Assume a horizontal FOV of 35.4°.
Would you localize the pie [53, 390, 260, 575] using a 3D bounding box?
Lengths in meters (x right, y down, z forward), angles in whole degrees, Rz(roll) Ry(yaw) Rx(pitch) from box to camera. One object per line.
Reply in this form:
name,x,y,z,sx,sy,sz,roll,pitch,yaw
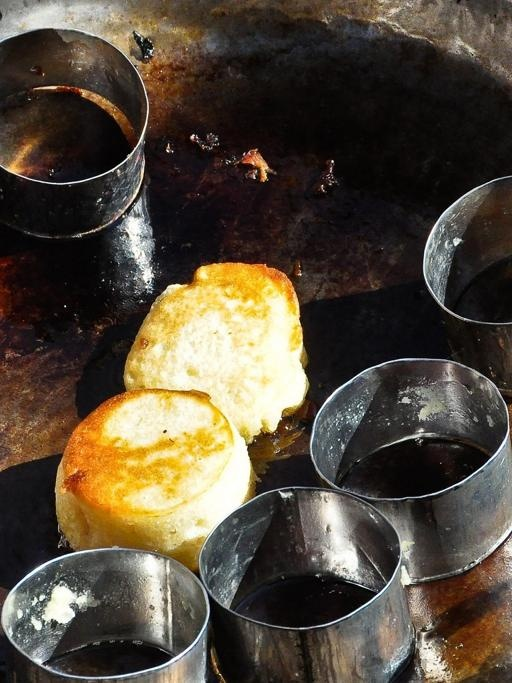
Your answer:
pie,-0.228,0.275,1.773,0.443,0.173,0.383,-20,50,-21
